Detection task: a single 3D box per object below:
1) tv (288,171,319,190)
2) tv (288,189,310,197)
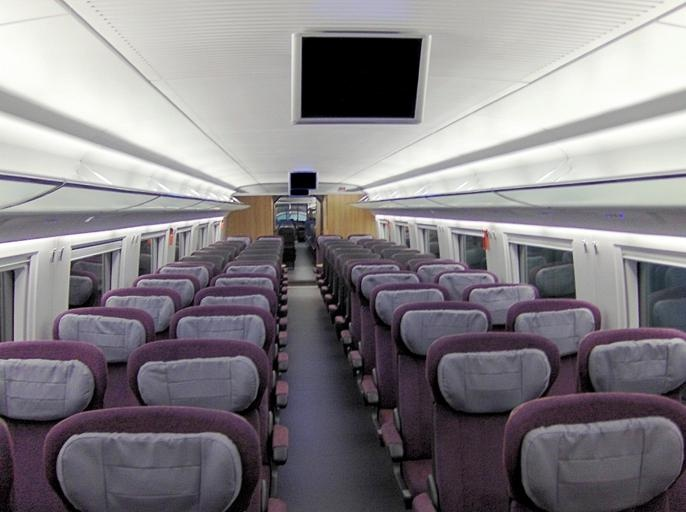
[{"bbox_3d":[-0.857,-1.565,10.016,0.576,0.356,0.411,1,9,1],"label":"tv"},{"bbox_3d":[-0.978,-1.397,10.667,0.395,0.143,0.777,0,8,-7],"label":"tv"}]
